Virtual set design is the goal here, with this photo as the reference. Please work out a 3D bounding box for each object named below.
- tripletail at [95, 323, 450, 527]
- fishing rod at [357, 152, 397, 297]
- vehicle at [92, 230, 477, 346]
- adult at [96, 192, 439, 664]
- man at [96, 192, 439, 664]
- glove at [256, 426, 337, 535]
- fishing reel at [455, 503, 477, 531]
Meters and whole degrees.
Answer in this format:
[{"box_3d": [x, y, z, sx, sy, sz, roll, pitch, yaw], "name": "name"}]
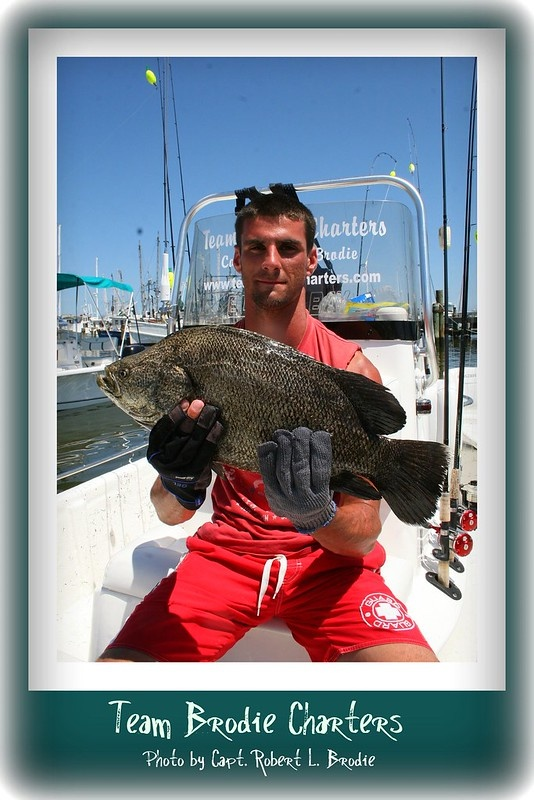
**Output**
[{"box_3d": [-0.015, 0.073, 1.512, 0.911, 0.437, 0.217, 17, 8, 11], "name": "tripletail"}, {"box_3d": [0.536, -0.911, 2.853, 0.226, 0.044, 1.242, 12, 49, -2], "name": "fishing rod"}, {"box_3d": [0.257, -0.443, 2.730, 1.202, 0.423, 0.903, 2, 3, 3], "name": "vehicle"}, {"box_3d": [0.054, 0.167, 1.787, 0.941, 1.416, 0.729, 0, 9, 11], "name": "adult"}, {"box_3d": [0.057, 0.165, 1.741, 0.949, 1.419, 0.833, 2, 10, 25], "name": "man"}, {"box_3d": [0.070, 0.222, 1.458, 0.163, 0.263, 0.092, -1, 30, 12], "name": "glove"}, {"box_3d": [0.859, 0.510, 2.599, 0.050, 0.144, 0.141, 1, -24, 39], "name": "fishing reel"}]
